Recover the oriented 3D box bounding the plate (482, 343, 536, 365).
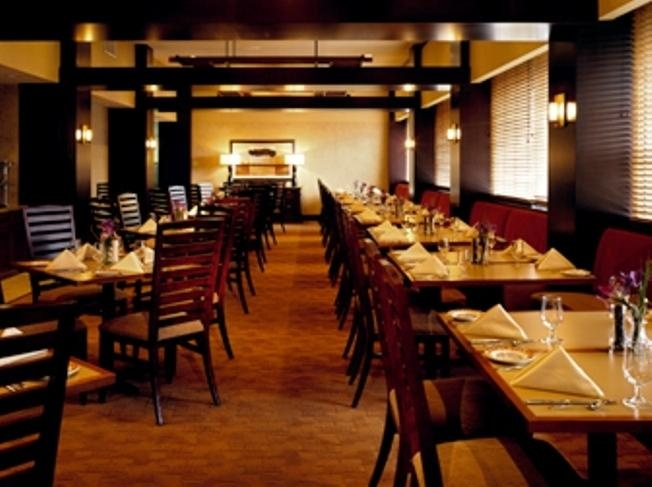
[{"bbox_3d":[0.735,0.446,2.247,0.190,0.022,0.208,-3,10,-19],"label":"plate"}]

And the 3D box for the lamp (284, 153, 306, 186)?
[{"bbox_3d":[-0.899,-2.050,15.617,0.547,0.905,0.590,6,8,44],"label":"lamp"}]

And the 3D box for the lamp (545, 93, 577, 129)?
[{"bbox_3d":[2.231,-1.250,5.275,0.262,0.328,0.303,-4,4,-16],"label":"lamp"}]

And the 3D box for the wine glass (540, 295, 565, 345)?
[{"bbox_3d":[1.000,0.310,2.474,0.081,0.192,0.344,4,10,23],"label":"wine glass"}]

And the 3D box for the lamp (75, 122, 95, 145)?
[{"bbox_3d":[-3.829,-1.743,8.846,0.143,0.307,0.416,-1,9,-2],"label":"lamp"}]

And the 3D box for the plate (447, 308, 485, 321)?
[{"bbox_3d":[0.681,0.354,2.759,0.154,0.027,0.161,2,9,12],"label":"plate"}]
